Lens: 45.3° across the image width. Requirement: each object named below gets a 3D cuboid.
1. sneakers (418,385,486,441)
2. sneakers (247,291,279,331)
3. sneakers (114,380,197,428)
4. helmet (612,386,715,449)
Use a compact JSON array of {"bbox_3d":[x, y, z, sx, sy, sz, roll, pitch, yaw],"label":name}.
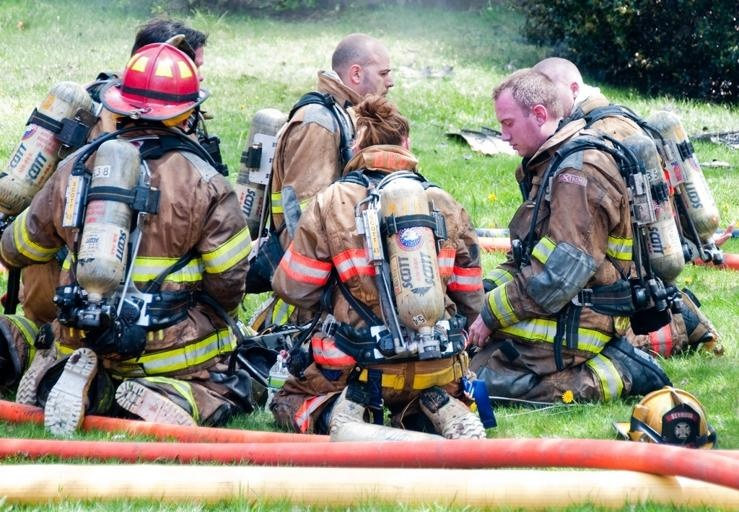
[{"bbox_3d":[0.640,1.245,6.859,0.275,0.245,0.634,37,4,-42],"label":"sneakers"},{"bbox_3d":[-1.050,0.567,8.780,0.134,0.376,0.275,34,4,-3],"label":"sneakers"},{"bbox_3d":[-1.654,1.155,6.881,0.460,0.162,0.214,20,2,10],"label":"sneakers"},{"bbox_3d":[2.321,1.245,6.691,0.624,0.410,0.328,-1,22,-15],"label":"helmet"}]
